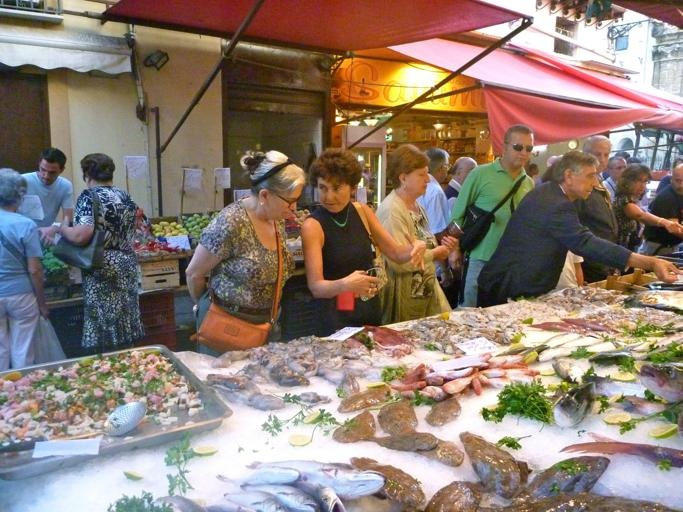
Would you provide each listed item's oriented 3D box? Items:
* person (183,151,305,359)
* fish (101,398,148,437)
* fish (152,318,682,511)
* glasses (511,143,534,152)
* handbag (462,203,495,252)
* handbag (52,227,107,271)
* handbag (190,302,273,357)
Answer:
[{"bbox_3d":[-0.653,0.244,3.422,0.749,1.913,0.652,2,21,-5],"label":"person"},{"bbox_3d":[-0.863,0.651,2.004,0.136,0.080,0.165,8,10,41],"label":"fish"},{"bbox_3d":[0.382,0.654,2.190,2.085,0.275,1.348,1,7,-5],"label":"fish"},{"bbox_3d":[1.734,-1.017,4.710,0.239,0.072,0.114,-3,9,-31],"label":"glasses"},{"bbox_3d":[1.331,-0.266,4.804,0.190,0.395,0.319,4,34,-27],"label":"handbag"},{"bbox_3d":[-2.192,-0.068,4.210,0.364,0.340,0.132,7,16,-3],"label":"handbag"},{"bbox_3d":[-0.610,0.496,3.187,0.507,0.325,0.376,16,6,26],"label":"handbag"}]
